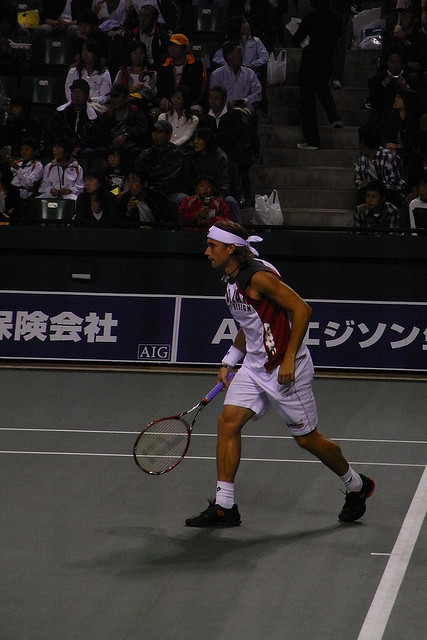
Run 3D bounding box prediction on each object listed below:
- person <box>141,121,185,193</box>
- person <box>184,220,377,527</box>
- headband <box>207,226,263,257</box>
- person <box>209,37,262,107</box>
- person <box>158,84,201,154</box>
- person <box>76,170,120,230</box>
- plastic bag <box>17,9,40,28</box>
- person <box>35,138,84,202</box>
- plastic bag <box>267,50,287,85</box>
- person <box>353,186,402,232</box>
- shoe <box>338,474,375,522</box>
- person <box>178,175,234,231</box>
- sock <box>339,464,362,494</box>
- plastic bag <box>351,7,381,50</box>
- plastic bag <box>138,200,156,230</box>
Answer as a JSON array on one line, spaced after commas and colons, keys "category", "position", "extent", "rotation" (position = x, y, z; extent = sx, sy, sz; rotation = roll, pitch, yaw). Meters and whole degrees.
[{"category": "person", "position": [-0.744, -2.362, 9.422], "extent": [0.618, 1.004, 0.331], "rotation": [0, 9, -7]}, {"category": "person", "position": [0.365, 0.325, 3.902], "extent": [1.037, 1.795, 0.541], "rotation": [1, 9, -3]}, {"category": "headband", "position": [0.127, -0.494, 3.973], "extent": [0.304, 0.115, 0.180], "rotation": [18, 4, 0]}, {"category": "person", "position": [0.380, -4.249, 11.464], "extent": [0.940, 1.248, 0.740], "rotation": [0, 34, 0]}, {"category": "person", "position": [-0.661, -3.090, 10.399], "extent": [0.602, 1.236, 0.729], "rotation": [18, 19, 34]}, {"category": "person", "position": [-1.594, -1.649, 8.897], "extent": [0.584, 0.802, 0.760], "rotation": [-1, 9, -11]}, {"category": "plastic bag", "position": [-4.481, -7.273, 15.706], "extent": [0.493, 0.521, 0.459], "rotation": [-1, 9, -13]}, {"category": "person", "position": [-2.360, -2.264, 9.733], "extent": [0.729, 0.907, 0.720], "rotation": [2, 8, 5]}, {"category": "plastic bag", "position": [1.192, -4.800, 12.294], "extent": [0.358, 0.621, 0.382], "rotation": [1, 9, -2]}, {"category": "person", "position": [2.227, -1.492, 8.808], "extent": [0.648, 0.778, 0.467], "rotation": [11, 26, 31]}, {"category": "shoe", "position": [0.863, 1.103, 4.067], "extent": [0.175, 0.351, 0.133], "rotation": [23, -5, -31]}, {"category": "person", "position": [-0.144, -1.417, 8.697], "extent": [0.801, 0.964, 0.521], "rotation": [3, 7, -15]}, {"category": "sock", "position": [0.835, 0.978, 3.980], "extent": [0.078, 0.204, 0.091], "rotation": [-12, 3, 27]}, {"category": "plastic bag", "position": [3.299, -6.491, 14.665], "extent": [0.823, 1.015, 0.321], "rotation": [-4, 8, -42]}, {"category": "plastic bag", "position": [-0.912, -1.429, 8.830], "extent": [0.241, 0.375, 0.350], "rotation": [0, 8, -6]}]
